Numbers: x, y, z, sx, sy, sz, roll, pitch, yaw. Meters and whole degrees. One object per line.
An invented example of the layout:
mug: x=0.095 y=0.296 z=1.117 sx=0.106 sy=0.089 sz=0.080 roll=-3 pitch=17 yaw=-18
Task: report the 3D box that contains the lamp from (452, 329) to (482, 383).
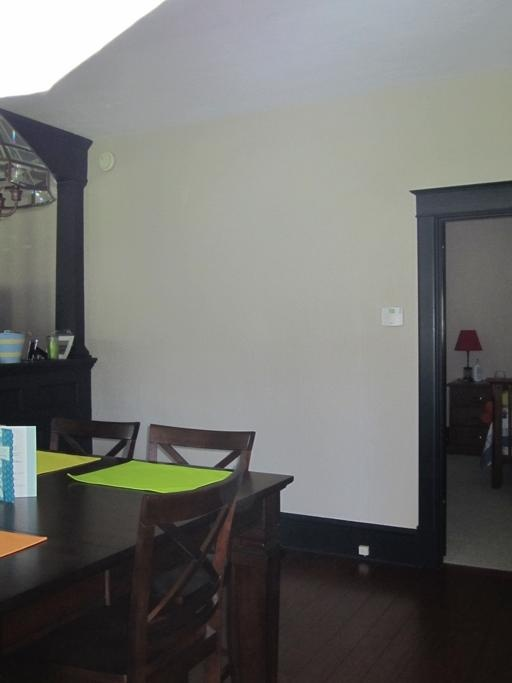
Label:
lamp: x=2.355 y=0.144 z=6.477 sx=0.286 sy=0.568 sz=0.481 roll=-1 pitch=-1 yaw=20
